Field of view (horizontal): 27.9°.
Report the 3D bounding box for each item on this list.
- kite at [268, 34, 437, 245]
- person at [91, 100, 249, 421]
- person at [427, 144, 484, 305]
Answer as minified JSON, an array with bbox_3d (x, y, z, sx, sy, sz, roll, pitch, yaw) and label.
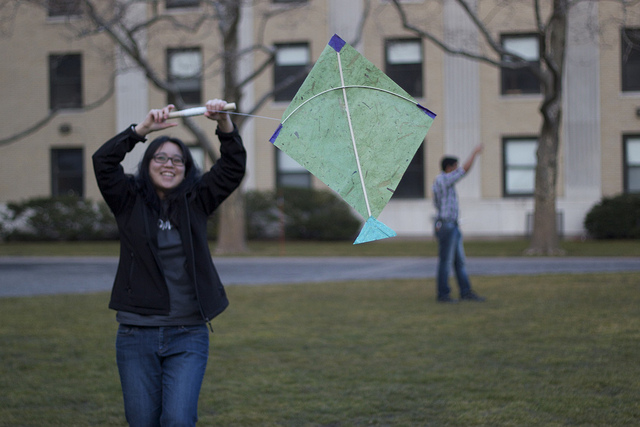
[{"bbox_3d":[0.310,-0.667,11.684,1.507,1.858,0.380,-10,-3,-17],"label":"kite"},{"bbox_3d":[-1.285,0.434,11.135,1.197,2.617,0.442,-5,1,-11],"label":"person"},{"bbox_3d":[1.368,0.167,12.923,0.636,1.376,0.461,-5,1,23],"label":"person"}]
